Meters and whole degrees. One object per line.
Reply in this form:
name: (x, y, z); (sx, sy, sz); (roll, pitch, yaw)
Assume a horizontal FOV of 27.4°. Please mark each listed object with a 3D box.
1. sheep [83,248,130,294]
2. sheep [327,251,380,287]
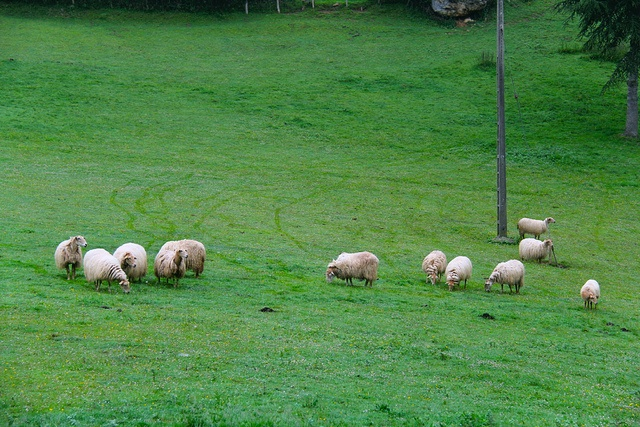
sheep: (-18.183, 5.027, 110.804); (3.707, 3.250, 1.551); (2, 18, 1)
sheep: (2.859, 4.868, 115.479); (4.908, 3.010, 2.384); (1, -2, 11)
